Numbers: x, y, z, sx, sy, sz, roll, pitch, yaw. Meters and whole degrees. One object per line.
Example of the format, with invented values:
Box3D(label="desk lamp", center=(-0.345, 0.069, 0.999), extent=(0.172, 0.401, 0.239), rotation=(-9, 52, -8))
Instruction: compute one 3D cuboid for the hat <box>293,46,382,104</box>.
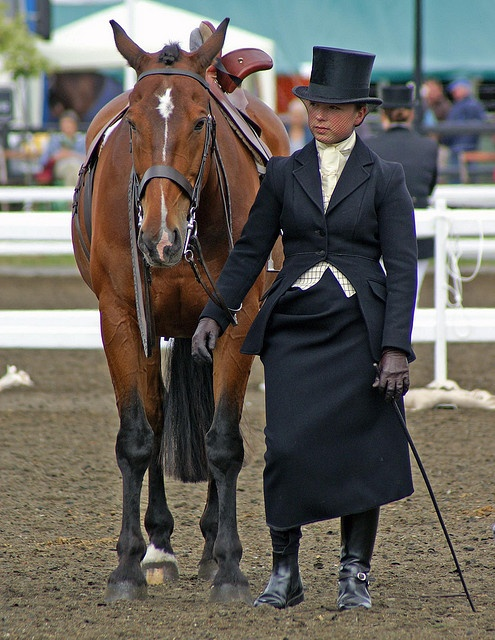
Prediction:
Box3D(label="hat", center=(0.360, -0.931, 6.416), extent=(0.335, 0.219, 0.360), rotation=(15, 13, 35))

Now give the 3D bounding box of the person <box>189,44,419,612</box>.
Box3D(label="person", center=(0.248, 0.027, 6.434), extent=(0.779, 2.101, 0.531), rotation=(1, 10, 8))

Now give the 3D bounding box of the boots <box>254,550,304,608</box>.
Box3D(label="boots", center=(0.122, 0.983, 6.420), extent=(0.108, 0.254, 0.260), rotation=(3, 11, 31))

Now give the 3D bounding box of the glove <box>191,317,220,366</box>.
Box3D(label="glove", center=(-0.168, 0.086, 6.485), extent=(0.094, 0.174, 0.078), rotation=(-13, -26, 39))

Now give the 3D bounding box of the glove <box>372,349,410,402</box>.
Box3D(label="glove", center=(0.540, 0.211, 6.259), extent=(0.117, 0.059, 0.232), rotation=(-5, 45, 11))
